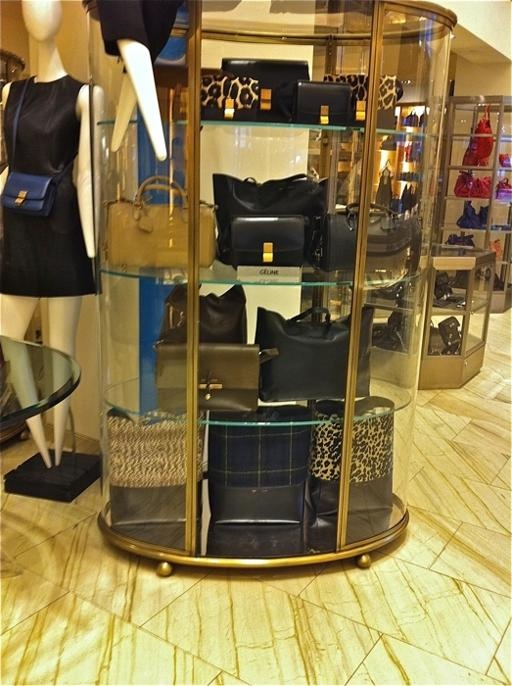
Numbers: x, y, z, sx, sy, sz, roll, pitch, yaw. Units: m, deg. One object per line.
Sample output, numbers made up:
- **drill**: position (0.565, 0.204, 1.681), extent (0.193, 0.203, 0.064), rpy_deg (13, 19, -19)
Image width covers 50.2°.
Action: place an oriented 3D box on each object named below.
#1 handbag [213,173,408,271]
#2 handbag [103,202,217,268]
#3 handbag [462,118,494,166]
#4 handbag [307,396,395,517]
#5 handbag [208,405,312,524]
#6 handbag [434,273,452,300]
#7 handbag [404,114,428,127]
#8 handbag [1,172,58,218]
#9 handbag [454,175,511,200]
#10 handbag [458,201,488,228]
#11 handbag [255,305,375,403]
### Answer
- **handbag**: position (0.172, -0.345, 1.572), extent (0.588, 0.281, 0.158), rpy_deg (1, 8, -4)
- **handbag**: position (-0.265, -0.301, 1.549), extent (0.299, 0.257, 0.115), rpy_deg (-1, -16, -14)
- **handbag**: position (2.295, -2.096, 5.593), extent (0.314, 0.608, 0.240), rpy_deg (20, 50, 37)
- **handbag**: position (0.317, 0.393, 1.832), extent (0.250, 0.356, 0.190), rpy_deg (-3, 7, 26)
- **handbag**: position (0.005, 0.391, 1.855), extent (0.350, 0.409, 0.229), rpy_deg (-1, 15, -6)
- **handbag**: position (1.207, -0.374, 3.566), extent (0.119, 0.143, 0.152), rpy_deg (7, 3, 14)
- **handbag**: position (0.443, -0.620, 1.536), extent (0.067, 0.051, 0.043), rpy_deg (17, 26, 40)
- **handbag**: position (-0.772, -0.511, 1.878), extent (0.134, 0.124, 0.073), rpy_deg (10, 3, 10)
- **handbag**: position (2.420, -1.652, 5.808), extent (0.499, 0.368, 0.218), rpy_deg (0, 10, 2)
- **handbag**: position (2.348, -1.377, 5.882), extent (0.275, 0.295, 0.147), rpy_deg (5, 15, 13)
- **handbag**: position (0.182, 0.038, 1.686), extent (0.336, 0.305, 0.185), rpy_deg (1, -5, 9)
